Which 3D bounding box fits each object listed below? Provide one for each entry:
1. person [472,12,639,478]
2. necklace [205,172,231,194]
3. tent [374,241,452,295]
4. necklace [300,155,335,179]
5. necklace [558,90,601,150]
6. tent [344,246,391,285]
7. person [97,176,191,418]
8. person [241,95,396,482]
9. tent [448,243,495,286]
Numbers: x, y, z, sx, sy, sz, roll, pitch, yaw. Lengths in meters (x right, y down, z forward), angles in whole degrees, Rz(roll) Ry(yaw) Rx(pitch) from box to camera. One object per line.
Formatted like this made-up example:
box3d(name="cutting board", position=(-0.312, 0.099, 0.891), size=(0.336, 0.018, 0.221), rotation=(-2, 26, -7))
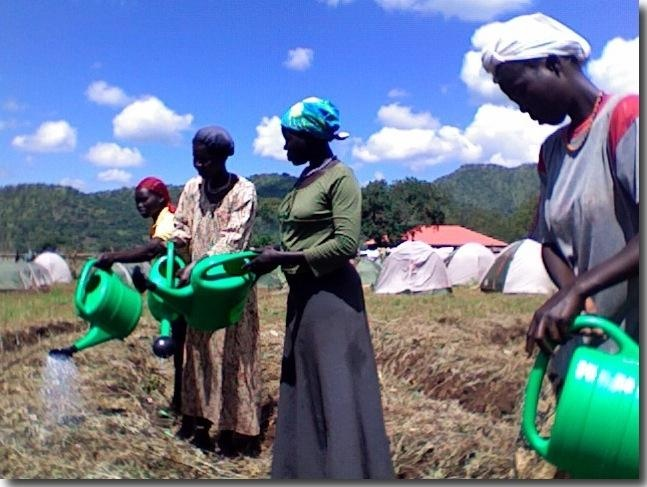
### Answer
box3d(name="person", position=(1.043, 0.057, 2.360), size=(0.598, 2.152, 0.613), rotation=(-2, 2, -36))
box3d(name="necklace", position=(-0.724, -0.399, 3.875), size=(0.162, 0.215, 0.080), rotation=(4, -25, 13))
box3d(name="tent", position=(2.743, 0.736, 16.939), size=(1.894, 1.261, 1.452), rotation=(2, -7, -26))
box3d(name="necklace", position=(-0.026, -0.428, 3.182), size=(0.183, 0.048, 0.112), rotation=(-30, -5, 12))
box3d(name="necklace", position=(1.123, -0.538, 2.447), size=(0.081, 0.209, 0.153), rotation=(21, 27, 20))
box3d(name="tent", position=(1.856, 0.911, 22.506), size=(1.676, 0.889, 2.520), rotation=(-8, 0, 5))
box3d(name="person", position=(-1.363, 0.345, 4.255), size=(0.846, 1.654, 0.656), rotation=(1, 6, -20))
box3d(name="person", position=(-0.006, 0.250, 3.133), size=(0.759, 2.121, 0.410), rotation=(-1, 1, 7))
box3d(name="tent", position=(5.376, 0.816, 21.209), size=(1.720, 1.358, 1.812), rotation=(-1, 0, -10))
